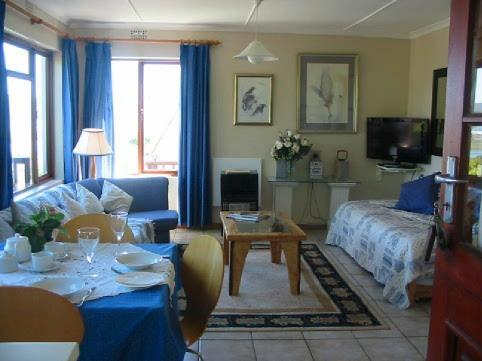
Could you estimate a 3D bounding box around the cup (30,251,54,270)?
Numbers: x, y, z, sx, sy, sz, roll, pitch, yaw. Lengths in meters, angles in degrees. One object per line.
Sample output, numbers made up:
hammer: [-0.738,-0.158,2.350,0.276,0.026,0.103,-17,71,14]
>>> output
cup: [-1.113,0.442,2.226,0.085,0.090,0.115,-1,-2,35]

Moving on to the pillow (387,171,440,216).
pillow: [2.106,0.179,4.739,0.190,0.436,0.526,11,-11,-25]

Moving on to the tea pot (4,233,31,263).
tea pot: [-1.290,0.382,2.310,0.149,0.173,0.156,1,0,0]

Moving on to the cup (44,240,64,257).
cup: [-1.129,0.412,2.404,0.074,0.073,0.101,0,-1,6]

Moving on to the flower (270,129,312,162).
flower: [0.727,-0.495,5.717,0.480,0.433,0.489,-2,6,-12]

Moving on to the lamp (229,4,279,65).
lamp: [0.156,-1.602,4.003,0.424,0.838,0.421,3,9,9]

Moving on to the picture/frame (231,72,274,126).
picture/frame: [0.160,-1.229,5.827,0.725,0.883,0.058,0,9,0]

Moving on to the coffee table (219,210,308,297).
coffee table: [0.194,0.763,4.315,0.764,0.623,1.264,1,4,-6]

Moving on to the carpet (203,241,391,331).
carpet: [0.424,1.052,4.043,1.463,0.069,1.661,1,12,-3]

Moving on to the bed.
bed: [1.505,0.666,4.163,0.816,0.370,1.191,-7,9,-13]

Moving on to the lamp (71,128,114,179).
lamp: [-1.946,-0.322,5.248,0.450,0.775,0.486,8,22,-4]

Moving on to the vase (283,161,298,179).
vase: [0.728,-0.165,5.903,0.244,0.370,0.237,0,2,-2]
